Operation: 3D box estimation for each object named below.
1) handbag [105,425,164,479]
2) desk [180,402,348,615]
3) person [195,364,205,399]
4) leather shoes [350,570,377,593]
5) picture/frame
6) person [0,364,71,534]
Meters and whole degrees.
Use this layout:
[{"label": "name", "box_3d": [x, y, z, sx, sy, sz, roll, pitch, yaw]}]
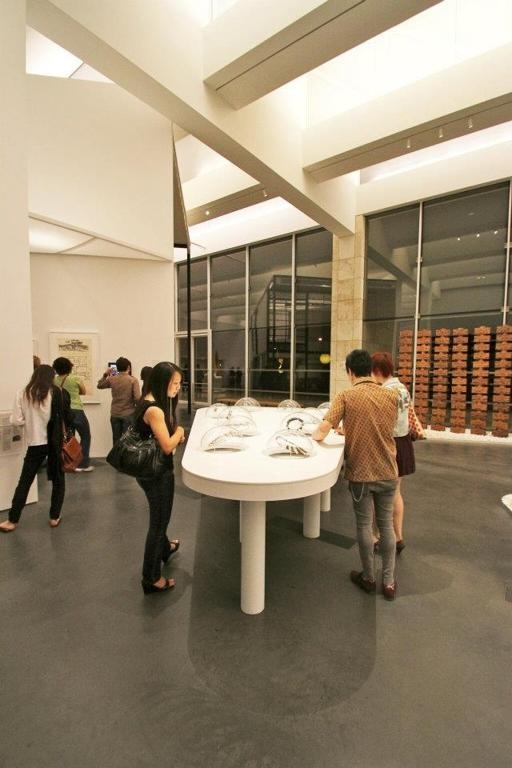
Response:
[{"label": "handbag", "box_3d": [-0.649, 0.373, 2.768, 0.284, 0.273, 0.145, 3, 8, 18]}, {"label": "desk", "box_3d": [0.063, 0.743, 3.271, 0.986, 0.887, 1.942, -1, 8, -5]}, {"label": "person", "box_3d": [-1.326, -0.029, 12.324, 0.173, 0.919, 0.691, -3, 8, -21]}, {"label": "leather shoes", "box_3d": [0.622, 1.145, 3.002, 0.061, 0.082, 0.168, -5, 21, -30]}, {"label": "picture/frame", "box_3d": [-2.161, -0.280, 6.144, 0.635, 0.069, 1.040, -3, 33, -21]}, {"label": "person", "box_3d": [-1.697, 0.473, 3.949, 0.515, 1.218, 0.370, -3, 8, -21]}]
